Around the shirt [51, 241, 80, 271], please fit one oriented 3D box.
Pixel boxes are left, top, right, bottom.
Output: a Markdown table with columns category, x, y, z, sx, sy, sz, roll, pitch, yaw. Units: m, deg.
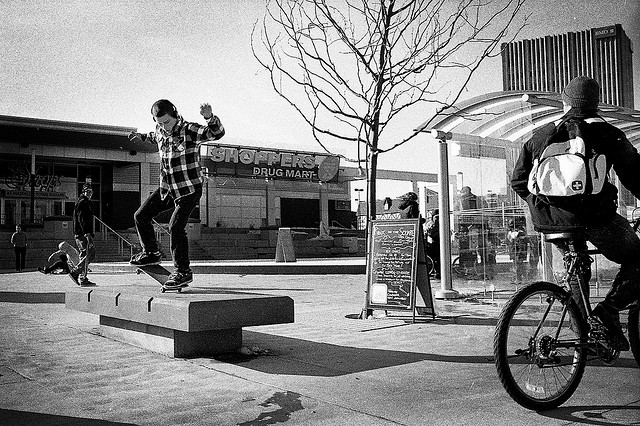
| category | x | y | z | sx | sy | sz | roll | pitch | yaw |
| --- | --- | --- | --- | --- | --- | --- | --- | --- | --- |
| shirt | -5.475 | 0.952 | 13.862 | 0.390 | 0.639 | 0.738 | -2 | 3 | -22 |

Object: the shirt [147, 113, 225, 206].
| category | x | y | z | sx | sy | sz | roll | pitch | yaw |
| --- | --- | --- | --- | --- | --- | --- | --- | --- | --- |
| shirt | -1.626 | -0.642 | 7.766 | 0.928 | 1.102 | 0.269 | 1 | 3 | 23 |

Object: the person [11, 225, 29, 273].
| category | x | y | z | sx | sy | sz | roll | pitch | yaw |
| --- | --- | --- | --- | --- | --- | --- | --- | --- | --- |
| person | -10.663 | 1.268 | 22.479 | 0.420 | 1.664 | 1.482 | -2 | 3 | -25 |

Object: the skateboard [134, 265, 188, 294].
| category | x | y | z | sx | sy | sz | roll | pitch | yaw |
| --- | --- | --- | --- | --- | --- | --- | --- | --- | --- |
| skateboard | -2.089 | 0.832 | 8.055 | 1.018 | 0.148 | 0.274 | 28 | 20 | 38 |

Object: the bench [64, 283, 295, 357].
| category | x | y | z | sx | sy | sz | roll | pitch | yaw |
| --- | --- | --- | --- | --- | --- | --- | --- | --- | --- |
| bench | -1.685 | 1.245 | 7.575 | 2.569 | 0.706 | 1.134 | 1 | 3 | 39 |

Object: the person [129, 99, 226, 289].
| category | x | y | z | sx | sy | sz | roll | pitch | yaw |
| --- | --- | --- | --- | --- | --- | --- | --- | --- | --- |
| person | -1.778 | -0.240 | 7.746 | 1.178 | 2.284 | 0.492 | 1 | 3 | 22 |

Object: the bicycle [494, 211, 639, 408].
| category | x | y | z | sx | sy | sz | roll | pitch | yaw |
| --- | --- | --- | --- | --- | --- | --- | --- | --- | --- |
| bicycle | 2.071 | 0.945 | 5.641 | 1.153 | 1.579 | 0.351 | -2 | 3 | -24 |

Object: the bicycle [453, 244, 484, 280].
| category | x | y | z | sx | sy | sz | roll | pitch | yaw |
| --- | --- | --- | --- | --- | --- | --- | --- | --- | --- |
| bicycle | 2.749 | 0.879 | 11.683 | 0.324 | 0.634 | 0.936 | -1 | 3 | -1 |
